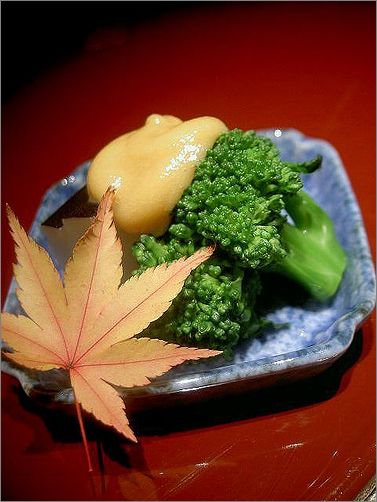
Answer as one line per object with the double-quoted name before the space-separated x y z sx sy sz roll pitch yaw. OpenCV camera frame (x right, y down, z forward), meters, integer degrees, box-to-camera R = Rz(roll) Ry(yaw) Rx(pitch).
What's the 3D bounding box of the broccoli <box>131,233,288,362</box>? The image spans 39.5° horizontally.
"broccoli" 0.038 0.119 1.265 0.290 0.299 0.124 -48 -3 -31
